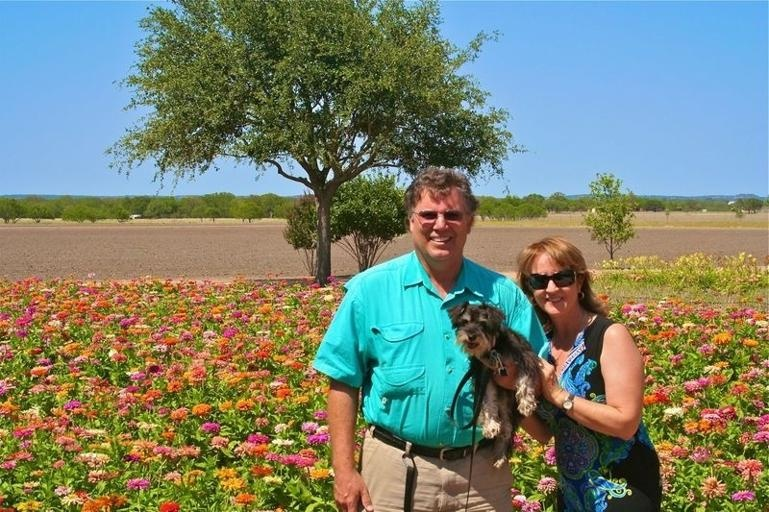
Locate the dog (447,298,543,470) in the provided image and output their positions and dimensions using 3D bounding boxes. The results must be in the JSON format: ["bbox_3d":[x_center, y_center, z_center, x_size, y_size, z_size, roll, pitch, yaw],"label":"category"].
[{"bbox_3d":[0.833,0.856,4.641,0.493,1.592,0.782,4,31,20],"label":"dog"}]
